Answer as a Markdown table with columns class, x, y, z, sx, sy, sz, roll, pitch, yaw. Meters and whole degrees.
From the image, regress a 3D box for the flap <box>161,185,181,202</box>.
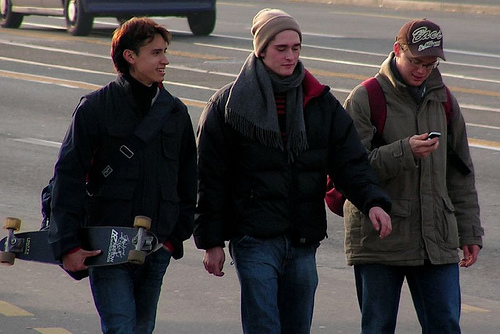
| class | x | y | z | sx | sy | sz | roll | pitch | yaw |
| --- | --- | --- | --- | --- | --- | --- | --- | --- | --- |
| flap | -0.619 | 0.199 | 7.480 | 0.128 | 0.037 | 0.094 | 7 | -37 | 1 |

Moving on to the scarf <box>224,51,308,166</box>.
| class | x | y | z | sx | sy | sz | roll | pitch | yaw |
| --- | --- | --- | --- | --- | --- | --- | --- | --- | --- |
| scarf | 0.144 | -0.470 | 7.709 | 0.672 | 0.850 | 0.234 | 4 | 5 | 1 |

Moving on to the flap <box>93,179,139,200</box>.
| class | x | y | z | sx | sy | sz | roll | pitch | yaw |
| --- | --- | --- | --- | --- | --- | --- | --- | --- | --- |
| flap | -1.022 | 0.160 | 7.376 | 0.314 | 0.152 | 0.046 | 4 | 5 | 2 |

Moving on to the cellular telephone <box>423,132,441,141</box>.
| class | x | y | z | sx | sy | sz | roll | pitch | yaw |
| --- | --- | --- | --- | --- | --- | --- | --- | --- | --- |
| cellular telephone | 1.444 | -0.252 | 7.696 | 0.088 | 0.015 | 0.151 | 9 | -30 | -20 |

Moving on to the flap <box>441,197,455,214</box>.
| class | x | y | z | sx | sy | sz | roll | pitch | yaw |
| --- | --- | --- | --- | --- | --- | --- | --- | --- | --- |
| flap | 1.613 | 0.303 | 7.899 | 0.039 | 0.116 | 0.118 | -21 | 18 | 10 |

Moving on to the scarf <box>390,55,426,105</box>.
| class | x | y | z | sx | sy | sz | roll | pitch | yaw |
| --- | --- | --- | --- | --- | --- | --- | --- | --- | --- |
| scarf | 1.286 | -0.722 | 7.915 | 0.261 | 0.335 | 0.124 | 7 | -29 | -13 |

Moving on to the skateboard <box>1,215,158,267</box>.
| class | x | y | z | sx | sy | sz | roll | pitch | yaw |
| --- | --- | --- | --- | --- | --- | --- | --- | --- | --- |
| skateboard | -1.307 | 0.547 | 7.330 | 1.191 | 0.456 | 0.281 | 4 | 5 | 1 |

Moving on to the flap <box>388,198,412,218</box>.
| class | x | y | z | sx | sy | sz | roll | pitch | yaw |
| --- | --- | --- | --- | --- | --- | --- | --- | --- | --- |
| flap | 1.219 | 0.313 | 7.885 | 0.243 | 0.172 | 0.139 | 0 | -9 | 3 |

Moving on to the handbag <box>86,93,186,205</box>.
| class | x | y | z | sx | sy | sz | roll | pitch | yaw |
| --- | --- | --- | --- | --- | --- | --- | --- | --- | --- |
| handbag | -0.914 | -0.143 | 7.408 | 0.152 | 1.140 | 0.128 | 49 | -10 | -13 |
